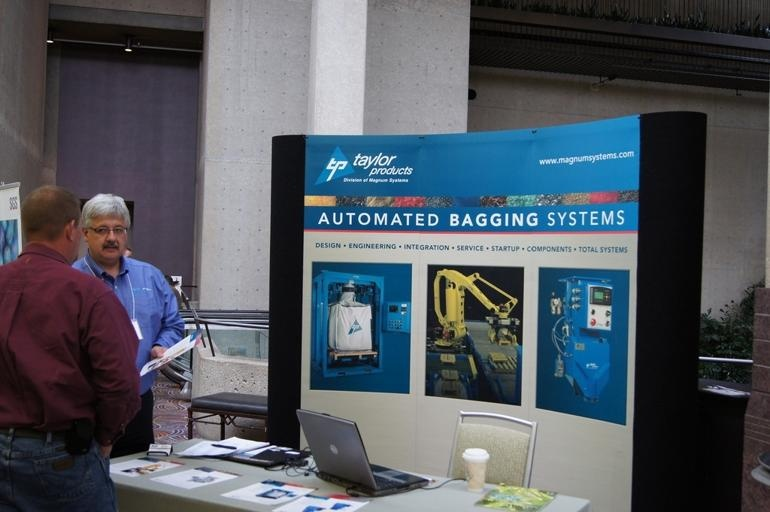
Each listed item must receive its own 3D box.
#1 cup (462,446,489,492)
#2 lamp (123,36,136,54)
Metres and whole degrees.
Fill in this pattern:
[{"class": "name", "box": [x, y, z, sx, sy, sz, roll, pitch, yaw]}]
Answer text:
[{"class": "cup", "box": [0.619, 1.506, 4.872, 0.234, 0.279, 0.240, 0, -9, 0]}, {"class": "lamp", "box": [-5.265, -4.315, 14.020, 0.248, 0.296, 0.259, 1, 1, 30]}]
